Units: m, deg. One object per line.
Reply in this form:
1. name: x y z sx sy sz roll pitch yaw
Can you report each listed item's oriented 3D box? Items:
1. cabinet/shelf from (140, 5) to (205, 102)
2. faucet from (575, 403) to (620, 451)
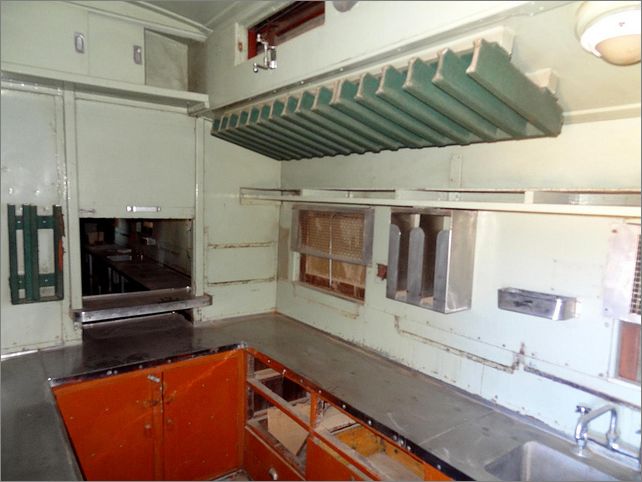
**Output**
1. cabinet/shelf: -1.150 -1.566 3.962 0.585 0.573 0.139 -13 12 -39
2. faucet: 1.512 1.033 2.588 0.218 0.290 0.149 10 15 32
